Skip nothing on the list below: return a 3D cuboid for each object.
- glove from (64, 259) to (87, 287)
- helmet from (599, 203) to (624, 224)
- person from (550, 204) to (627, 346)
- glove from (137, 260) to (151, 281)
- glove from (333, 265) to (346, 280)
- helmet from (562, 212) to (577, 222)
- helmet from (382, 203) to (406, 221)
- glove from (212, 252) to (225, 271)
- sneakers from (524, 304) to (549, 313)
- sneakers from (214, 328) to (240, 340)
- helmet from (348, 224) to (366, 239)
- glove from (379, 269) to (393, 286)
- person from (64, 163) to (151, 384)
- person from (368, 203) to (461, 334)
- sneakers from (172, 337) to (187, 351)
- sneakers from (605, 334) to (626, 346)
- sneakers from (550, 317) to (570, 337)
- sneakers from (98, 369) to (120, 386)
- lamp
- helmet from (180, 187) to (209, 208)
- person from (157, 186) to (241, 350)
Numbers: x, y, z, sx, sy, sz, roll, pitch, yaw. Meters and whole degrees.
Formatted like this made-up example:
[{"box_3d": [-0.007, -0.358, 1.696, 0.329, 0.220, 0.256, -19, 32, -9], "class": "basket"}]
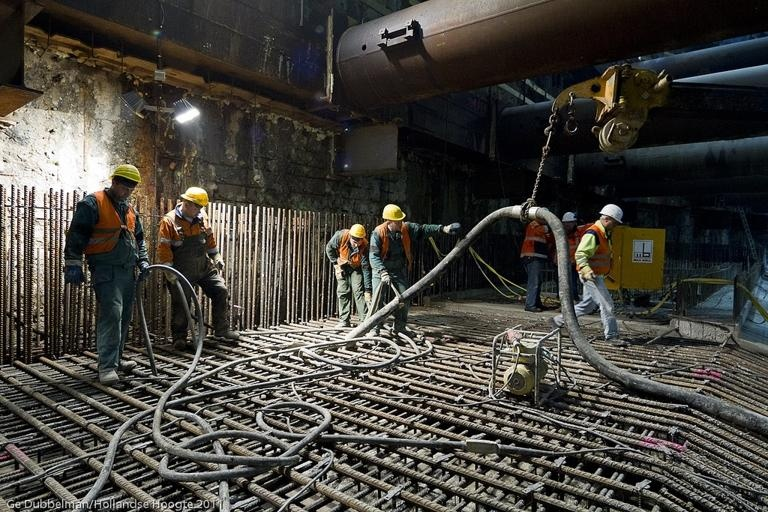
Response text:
[{"box_3d": [-3.707, 0.144, 7.676, 0.290, 0.380, 0.113, 8, -10, -38], "class": "glove"}, {"box_3d": [3.377, -0.654, 9.546, 0.409, 0.256, 0.314, 13, 11, 27], "class": "helmet"}, {"box_3d": [3.156, 0.197, 9.568, 0.694, 1.963, 0.780, 3, 3, 17], "class": "person"}, {"box_3d": [-3.062, 0.158, 8.196, 0.100, 0.258, 0.195, 4, 13, -43], "class": "glove"}, {"box_3d": [-0.717, 0.240, 10.368, 0.170, 0.227, 0.209, -2, -8, 13], "class": "glove"}, {"box_3d": [3.603, -0.808, 12.543, 0.258, 0.215, 0.342, -3, -6, 41], "class": "helmet"}, {"box_3d": [0.059, -0.665, 9.526, 0.343, 0.147, 0.266, 6, 13, 45], "class": "helmet"}, {"box_3d": [-2.320, 0.062, 9.166, 0.082, 0.224, 0.162, -34, 25, -35], "class": "glove"}, {"box_3d": [2.783, 0.923, 11.820, 0.383, 0.167, 0.153, -2, -3, 28], "class": "sneakers"}, {"box_3d": [-2.261, 1.083, 9.160, 0.392, 0.170, 0.142, -2, -1, 19], "class": "sneakers"}, {"box_3d": [-0.431, -0.407, 10.158, 0.223, 0.218, 0.260, 2, 3, -11], "class": "helmet"}, {"box_3d": [0.021, 0.291, 9.289, 0.160, 0.208, 0.238, 2, 3, -11], "class": "glove"}, {"box_3d": [-3.366, 0.166, 7.722, 0.790, 2.537, 0.579, 1, 4, -30], "class": "person"}, {"box_3d": [0.180, 0.188, 9.604, 0.958, 1.897, 1.013, 4, 4, 23], "class": "person"}, {"box_3d": [-2.748, 1.147, 8.699, 0.185, 0.172, 0.161, 1, 4, -19], "class": "sneakers"}, {"box_3d": [3.299, 1.191, 9.243, 0.272, 0.120, 0.116, -1, -1, 38], "class": "sneakers"}, {"box_3d": [2.410, 0.956, 8.877, 0.126, 0.387, 0.271, -27, -18, 30], "class": "sneakers"}, {"box_3d": [-3.236, 1.387, 7.592, 0.223, 0.156, 0.133, 1, 4, -22], "class": "sneakers"}, {"box_3d": [-3.331, -2.570, 9.487, 1.013, 1.153, 0.396, 6, 36, -20], "class": "lamp"}, {"box_3d": [-2.565, -0.831, 8.614, 0.350, 0.172, 0.274, 25, 4, 30], "class": "helmet"}, {"box_3d": [-2.565, 0.139, 8.865, 1.045, 2.141, 0.582, 1, 4, -27], "class": "person"}]
